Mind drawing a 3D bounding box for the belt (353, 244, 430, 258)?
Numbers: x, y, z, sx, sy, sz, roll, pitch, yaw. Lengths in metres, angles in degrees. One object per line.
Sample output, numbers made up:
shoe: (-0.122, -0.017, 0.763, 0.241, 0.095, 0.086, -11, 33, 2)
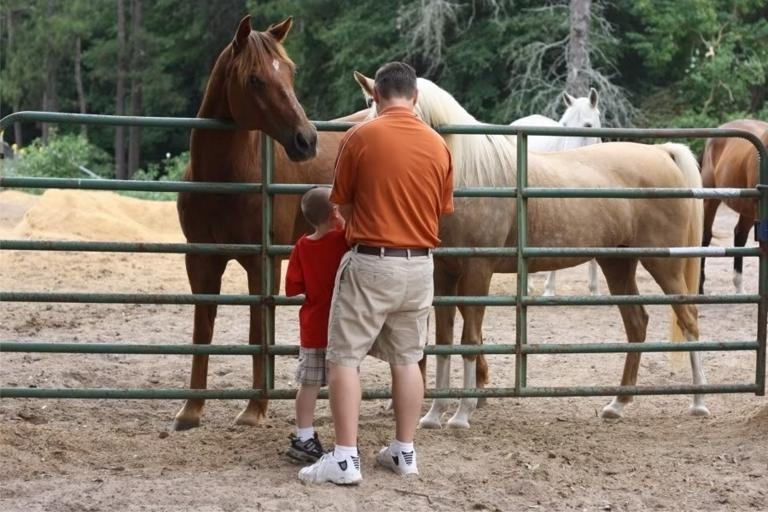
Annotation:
belt: (0.122, -0.079, 18.982, 1.068, 0.171, 0.118, 1, 4, -1)
